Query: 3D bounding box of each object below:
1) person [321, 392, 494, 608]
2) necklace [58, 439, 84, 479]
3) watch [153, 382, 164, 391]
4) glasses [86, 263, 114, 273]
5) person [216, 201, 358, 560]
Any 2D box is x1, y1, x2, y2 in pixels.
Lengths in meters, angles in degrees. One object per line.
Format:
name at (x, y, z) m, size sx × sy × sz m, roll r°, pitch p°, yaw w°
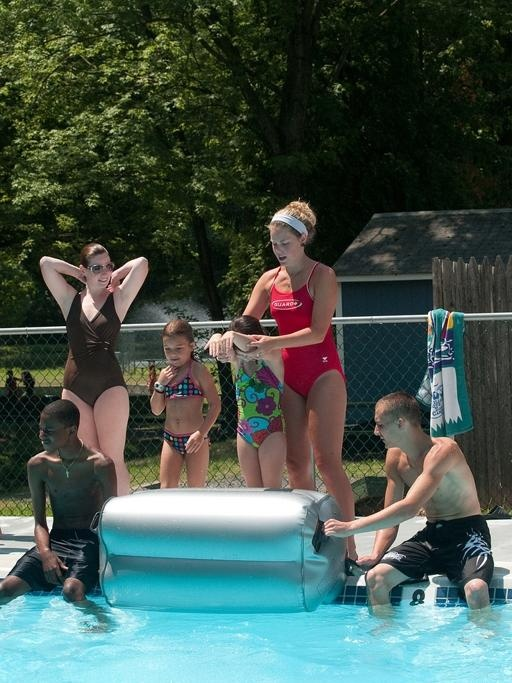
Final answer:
person at (0.739, 0.928, 4.094) m, size 0.804 × 1.298 × 0.604 m, roll 1°, pitch -9°, yaw 18°
necklace at (-0.967, 0.601, 4.405) m, size 0.108 × 0.178 × 0.028 m, roll 0°, pitch 2°, yaw 11°
watch at (-0.562, 0.256, 4.938) m, size 0.050 × 0.038 × 0.055 m, roll 14°, pitch -3°, yaw 9°
glasses at (-0.900, -0.417, 4.955) m, size 0.130 × 0.051 × 0.047 m, roll -6°, pitch 2°, yaw -31°
person at (0.167, 0.216, 4.458) m, size 0.569 × 1.480 × 0.644 m, roll -6°, pitch 2°, yaw 5°
